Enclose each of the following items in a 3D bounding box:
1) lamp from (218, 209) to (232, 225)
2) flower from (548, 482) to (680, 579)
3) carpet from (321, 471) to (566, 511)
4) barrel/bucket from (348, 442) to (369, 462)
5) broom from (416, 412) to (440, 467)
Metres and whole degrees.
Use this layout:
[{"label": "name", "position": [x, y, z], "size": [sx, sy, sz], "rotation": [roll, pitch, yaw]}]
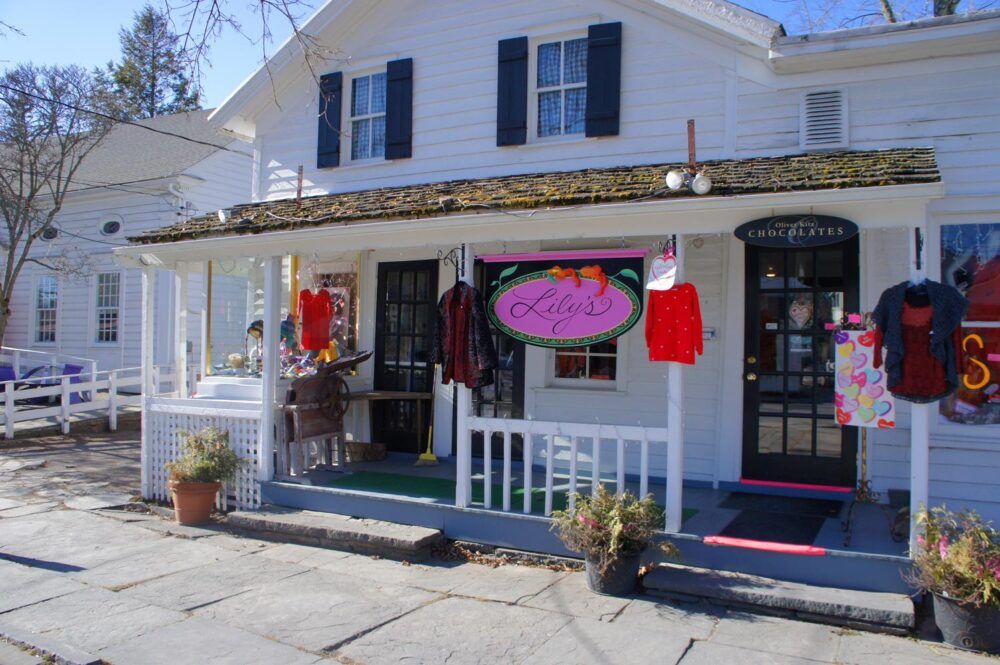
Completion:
[{"label": "lamp", "position": [-4.115, -1.717, 12.785], "size": [0.152, 0.256, 0.545], "rotation": [1, -1, -19]}, {"label": "flower", "position": [1.374, 2.177, 10.156], "size": [1.391, 0.755, 1.286], "rotation": [-2, -6, -11]}, {"label": "carpet", "position": [-0.814, 2.125, 11.748], "size": [3.179, 0.147, 1.153], "rotation": [1, -1, 19]}, {"label": "barrel/bucket", "position": [-2.228, 1.820, 13.420], "size": [0.306, 0.288, 0.289], "rotation": [1, 0, 0]}, {"label": "broom", "position": [-1.146, 1.656, 13.356], "size": [0.334, 0.689, 0.591], "rotation": [1, -1, -6]}]
